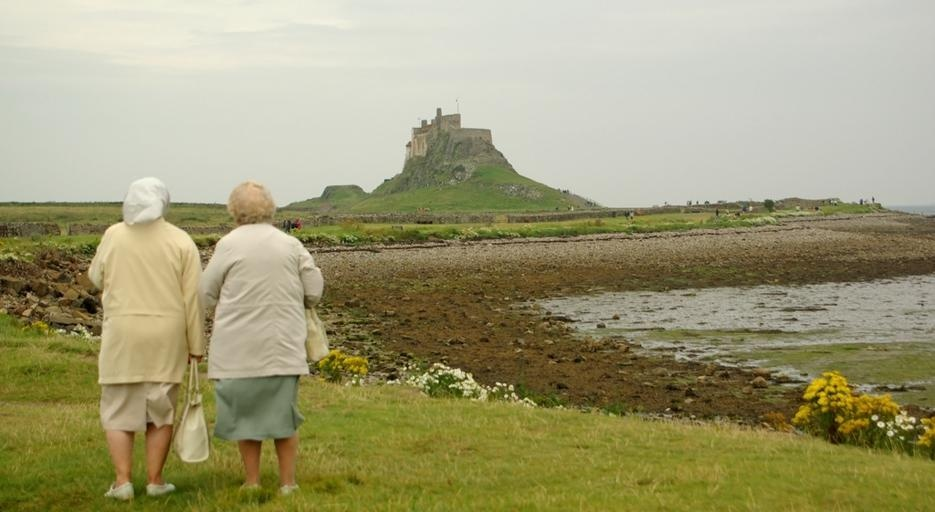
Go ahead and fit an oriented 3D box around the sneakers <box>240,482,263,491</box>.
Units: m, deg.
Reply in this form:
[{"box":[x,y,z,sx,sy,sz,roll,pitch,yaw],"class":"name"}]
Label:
[{"box":[-6.268,6.689,35.135,0.491,0.185,0.254,9,4,33],"class":"sneakers"}]
